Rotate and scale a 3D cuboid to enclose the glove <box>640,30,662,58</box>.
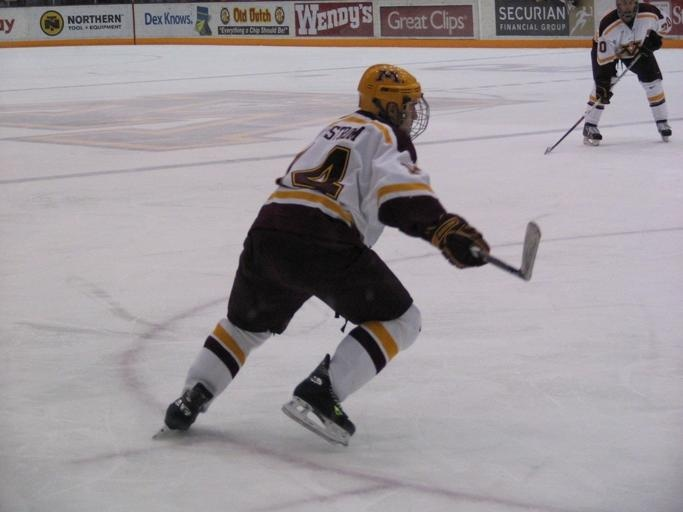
[{"bbox_3d":[2.615,-1.804,6.328,0.084,0.193,0.152,17,23,-30],"label":"glove"}]

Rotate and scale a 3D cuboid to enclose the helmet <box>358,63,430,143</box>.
[{"bbox_3d":[0.177,-0.528,2.532,0.296,0.257,0.214,3,30,-8],"label":"helmet"}]

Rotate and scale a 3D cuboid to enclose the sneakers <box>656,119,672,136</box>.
[{"bbox_3d":[2.546,-1.016,5.884,0.069,0.076,0.200,-13,24,11],"label":"sneakers"}]

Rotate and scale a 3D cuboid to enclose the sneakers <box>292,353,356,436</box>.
[{"bbox_3d":[-0.055,0.444,2.214,0.183,0.259,0.147,-13,18,-43],"label":"sneakers"}]

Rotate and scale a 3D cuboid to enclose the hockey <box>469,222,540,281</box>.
[{"bbox_3d":[0.477,-0.007,2.267,0.209,0.185,0.127,4,-2,-13],"label":"hockey"}]

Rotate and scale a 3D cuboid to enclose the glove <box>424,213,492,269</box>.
[{"bbox_3d":[0.332,-0.038,2.237,0.189,0.079,0.132,42,60,7],"label":"glove"}]

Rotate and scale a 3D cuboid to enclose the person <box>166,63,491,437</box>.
[{"bbox_3d":[-0.005,-0.001,2.545,1.045,1.170,0.820,2,-4,29],"label":"person"}]

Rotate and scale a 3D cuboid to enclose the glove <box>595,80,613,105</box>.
[{"bbox_3d":[2.169,-1.372,6.206,0.109,0.190,0.293,7,49,9],"label":"glove"}]
